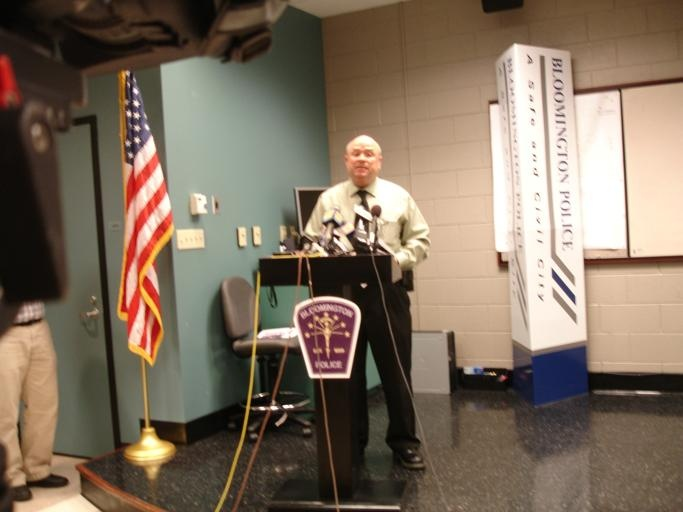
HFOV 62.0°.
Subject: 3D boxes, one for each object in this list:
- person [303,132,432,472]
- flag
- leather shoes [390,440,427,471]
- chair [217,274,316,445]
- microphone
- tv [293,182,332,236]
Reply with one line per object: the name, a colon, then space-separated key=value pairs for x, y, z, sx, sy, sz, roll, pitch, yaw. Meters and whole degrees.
person: x=0.145 y=0.244 z=2.785 sx=0.555 sy=1.686 sz=0.859 roll=-1 pitch=3 yaw=9
flag: x=-1.065 y=-0.203 z=3.054 sx=0.305 sy=1.570 sz=0.145 roll=-1 pitch=3 yaw=14
leather shoes: x=0.333 y=1.007 z=2.897 sx=0.079 sy=0.115 sz=0.249 roll=-1 pitch=-2 yaw=-30
chair: x=-0.451 y=0.622 z=3.576 sx=0.492 sy=0.937 sz=0.539 roll=-3 pitch=3 yaw=5
microphone: x=0.044 y=-0.093 z=2.326 sx=0.243 sy=0.210 sz=0.116 roll=-2 pitch=-3 yaw=26
tv: x=-0.191 y=-0.279 z=3.483 sx=0.026 sy=0.359 sz=0.370 roll=1 pitch=17 yaw=41
